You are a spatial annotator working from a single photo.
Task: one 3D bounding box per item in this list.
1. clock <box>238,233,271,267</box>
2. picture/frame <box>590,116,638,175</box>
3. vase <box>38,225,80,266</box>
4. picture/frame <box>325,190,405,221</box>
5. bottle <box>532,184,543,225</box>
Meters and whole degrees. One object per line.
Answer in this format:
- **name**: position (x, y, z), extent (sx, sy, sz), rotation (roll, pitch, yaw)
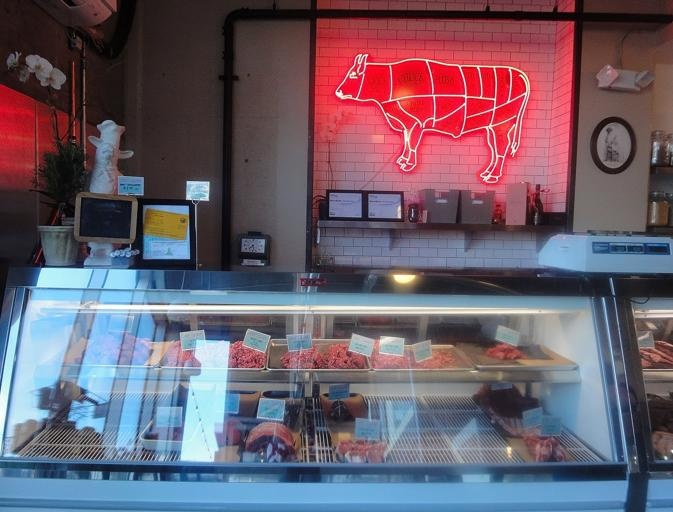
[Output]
- **clock**: position (-0.777, -0.061, 5.039), extent (0.285, 0.328, 0.171), rotation (2, -14, -6)
- **picture/frame**: position (2.548, -1.054, 4.980), extent (0.526, 0.755, 0.041), rotation (0, 1, 3)
- **vase**: position (-1.295, -0.049, 2.543), extent (0.206, 0.179, 0.209), rotation (0, -1, -13)
- **picture/frame**: position (0.259, -0.491, 5.160), extent (0.596, 0.313, 0.140), rotation (1, -5, -9)
- **bottle**: position (1.917, -0.486, 5.166), extent (0.090, 0.412, 0.225), rotation (-1, -7, 20)
